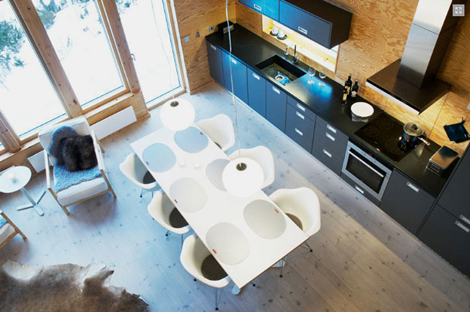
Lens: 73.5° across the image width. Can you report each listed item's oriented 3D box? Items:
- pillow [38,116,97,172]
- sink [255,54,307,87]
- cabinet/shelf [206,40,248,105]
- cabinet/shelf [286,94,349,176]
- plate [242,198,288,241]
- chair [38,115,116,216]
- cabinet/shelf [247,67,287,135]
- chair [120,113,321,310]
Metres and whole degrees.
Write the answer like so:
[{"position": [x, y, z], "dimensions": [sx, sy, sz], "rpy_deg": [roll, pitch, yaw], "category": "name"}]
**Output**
[{"position": [-3.201, -0.146, 6.287], "dimensions": [0.965, 0.903, 1.009], "rpy_deg": [-22, 67, -18], "category": "pillow"}, {"position": [0.938, -1.775, 6.598], "dimensions": [0.704, 0.383, 1.007], "rpy_deg": [-37, 64, -22], "category": "sink"}, {"position": [-0.149, -1.910, 7.153], "dimensions": [0.667, 1.123, 1.321], "rpy_deg": [-35, 64, -22], "category": "cabinet/shelf"}, {"position": [1.604, -0.425, 5.987], "dimensions": [0.591, 1.043, 1.111], "rpy_deg": [-36, 68, -19], "category": "cabinet/shelf"}, {"position": [0.463, 0.968, 4.860], "dimensions": [0.521, 0.094, 0.689], "rpy_deg": [-37, 57, -25], "category": "plate"}, {"position": [-3.170, 0.189, 6.298], "dimensions": [1.173, 1.246, 1.518], "rpy_deg": [-14, 48, -12], "category": "chair"}, {"position": [0.708, -1.181, 6.644], "dimensions": [0.506, 0.972, 0.982], "rpy_deg": [-35, 65, -22], "category": "cabinet/shelf"}, {"position": [0.073, 1.491, 6.556], "dimensions": [2.627, 1.319, 3.757], "rpy_deg": [-35, 62, -19], "category": "chair"}]
